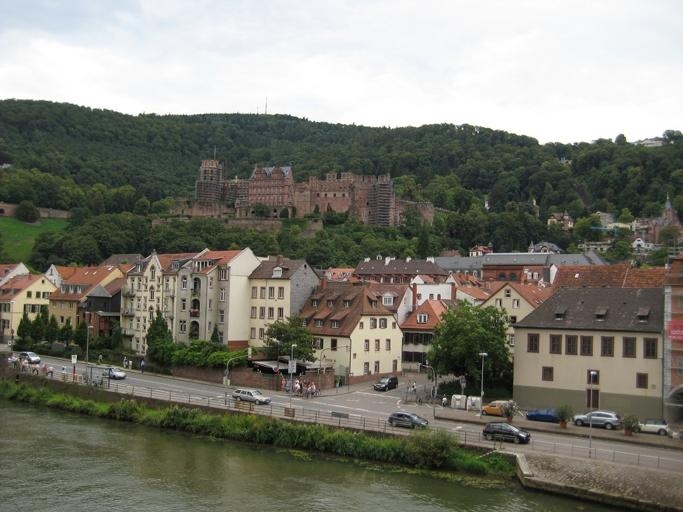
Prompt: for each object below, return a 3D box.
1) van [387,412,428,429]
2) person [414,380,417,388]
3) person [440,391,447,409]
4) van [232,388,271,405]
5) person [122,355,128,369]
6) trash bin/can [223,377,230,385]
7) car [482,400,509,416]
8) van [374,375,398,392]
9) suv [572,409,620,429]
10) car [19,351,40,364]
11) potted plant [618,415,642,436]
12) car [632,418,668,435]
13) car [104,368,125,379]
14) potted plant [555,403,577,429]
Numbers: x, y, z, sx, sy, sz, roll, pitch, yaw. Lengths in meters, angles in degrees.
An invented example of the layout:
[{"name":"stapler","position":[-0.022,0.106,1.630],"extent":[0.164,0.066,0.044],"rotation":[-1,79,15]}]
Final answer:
[{"name":"van","position":[7.700,19.707,147.183],"extent":[4.765,1.809,2.147],"rotation":[1,-5,27]},{"name":"person","position":[9.672,17.314,166.944],"extent":[0.257,0.969,0.534],"rotation":[8,16,7]},{"name":"person","position":[12.930,18.824,157.833],"extent":[0.591,0.805,1.411],"rotation":[-4,-46,1]},{"name":"van","position":[-11.675,17.906,156.149],"extent":[4.494,1.651,2.046],"rotation":[-2,-1,26]},{"name":"person","position":[-30.756,15.180,176.241],"extent":[0.547,1.620,1.671],"rotation":[4,-4,-11]},{"name":"trash bin/can","position":[-15.451,16.845,165.455],"extent":[0.990,1.088,0.570],"rotation":[-3,-7,22]},{"name":"car","position":[18.612,18.861,152.258],"extent":[2.724,1.353,1.781],"rotation":[1,-4,19]},{"name":"van","position":[5.957,17.267,165.211],"extent":[1.411,1.310,3.230],"rotation":[-4,-8,30]},{"name":"suv","position":[30.286,19.862,148.111],"extent":[4.598,1.756,2.214],"rotation":[3,-1,16]},{"name":"car","position":[-44.166,14.442,175.621],"extent":[3.043,1.552,1.708],"rotation":[-7,-7,41]},{"name":"potted plant","position":[33.619,20.051,145.383],"extent":[2.085,2.483,2.071],"rotation":[0,-7,-8]},{"name":"car","position":[36.393,20.385,145.845],"extent":[2.729,1.283,1.847],"rotation":[5,-2,14]},{"name":"car","position":[-30.809,16.104,167.748],"extent":[2.843,1.450,3.583],"rotation":[5,-5,-24]},{"name":"potted plant","position":[26.530,19.450,148.387],"extent":[2.222,3.152,2.407],"rotation":[2,-6,4]}]
